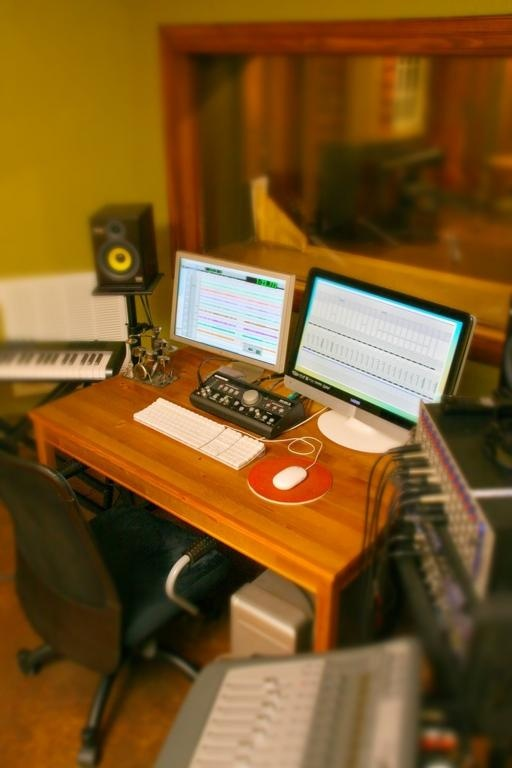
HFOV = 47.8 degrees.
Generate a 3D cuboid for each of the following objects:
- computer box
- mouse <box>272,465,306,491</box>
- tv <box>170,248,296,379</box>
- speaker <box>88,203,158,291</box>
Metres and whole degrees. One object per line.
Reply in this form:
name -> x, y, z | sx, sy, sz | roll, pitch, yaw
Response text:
computer box -> 0.051, 0.626, 1.503 | 0.201, 0.228, 0.141 | 23, 36, 30
mouse -> 0.074, 0.222, 1.405 | 0.044, 0.018, 0.076 | 24, 38, 36
tv -> -0.078, -0.214, 1.896 | 0.468, 0.327, 0.053 | 22, 33, 25
speaker -> -0.483, -0.492, 2.044 | 0.209, 0.256, 0.231 | -6, 34, -11
